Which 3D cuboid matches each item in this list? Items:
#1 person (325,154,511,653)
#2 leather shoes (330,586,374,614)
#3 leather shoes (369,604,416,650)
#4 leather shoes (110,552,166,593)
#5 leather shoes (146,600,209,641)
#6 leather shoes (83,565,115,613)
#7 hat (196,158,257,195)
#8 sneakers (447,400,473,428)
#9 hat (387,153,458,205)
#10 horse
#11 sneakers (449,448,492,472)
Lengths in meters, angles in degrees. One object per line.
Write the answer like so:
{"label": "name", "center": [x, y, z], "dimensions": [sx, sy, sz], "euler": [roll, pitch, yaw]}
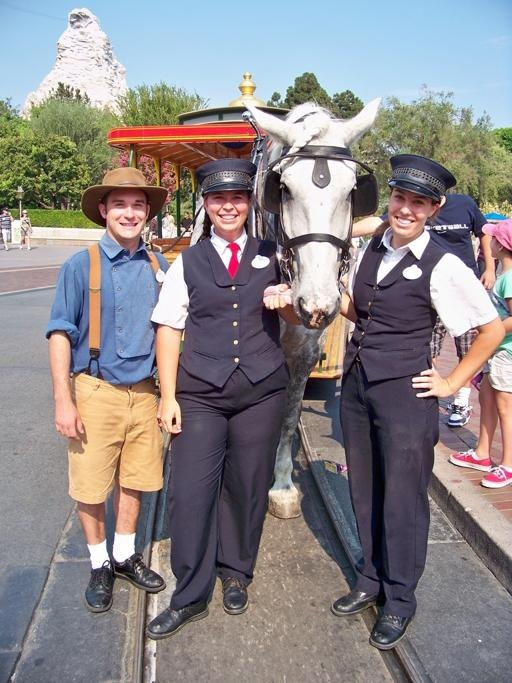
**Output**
{"label": "person", "center": [0.573, 0.231, 2.268], "dimensions": [0.452, 1.966, 0.638], "euler": [-6, 13, -36]}
{"label": "leather shoes", "center": [0.427, 1.139, 2.426], "dimensions": [0.232, 0.080, 0.084], "euler": [8, -1, -30]}
{"label": "leather shoes", "center": [0.555, 1.170, 2.229], "dimensions": [0.083, 0.098, 0.251], "euler": [13, -6, 35]}
{"label": "leather shoes", "center": [-0.545, 1.082, 2.592], "dimensions": [0.321, 0.125, 0.114], "euler": [11, 18, 29]}
{"label": "leather shoes", "center": [-0.329, 1.140, 2.305], "dimensions": [0.266, 0.116, 0.088], "euler": [-9, 29, -35]}
{"label": "leather shoes", "center": [-0.690, 1.096, 2.406], "dimensions": [0.079, 0.092, 0.219], "euler": [2, 7, -7]}
{"label": "hat", "center": [-0.113, -0.662, 2.206], "dimensions": [0.253, 0.152, 0.205], "euler": [-1, 10, -15]}
{"label": "sneakers", "center": [1.796, 0.656, 4.807], "dimensions": [0.139, 0.177, 0.408], "euler": [-2, -6, 24]}
{"label": "hat", "center": [0.635, -0.633, 2.103], "dimensions": [0.239, 0.179, 0.185], "euler": [4, 10, 13]}
{"label": "horse", "center": [0.086, -0.106, 3.384], "dimensions": [0.660, 1.964, 2.587], "euler": [10, 7, -4]}
{"label": "sneakers", "center": [1.488, 0.835, 3.838], "dimensions": [0.290, 0.125, 0.123], "euler": [8, -13, 16]}
